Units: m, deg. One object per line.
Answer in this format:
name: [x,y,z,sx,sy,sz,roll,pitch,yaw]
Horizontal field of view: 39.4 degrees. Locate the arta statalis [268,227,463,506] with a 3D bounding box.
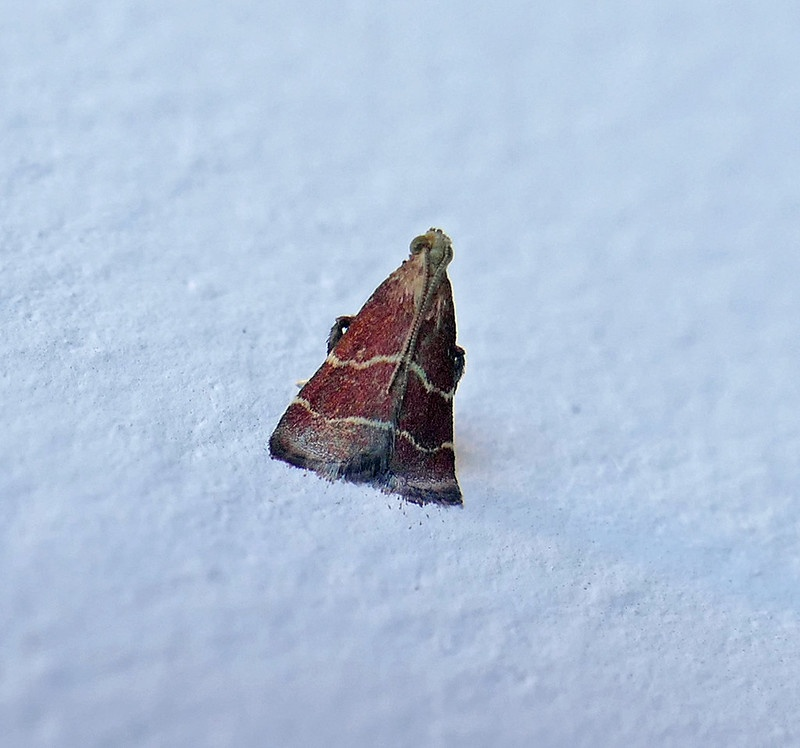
arta statalis: [-0.036,0.159,5.880,1.356,0.521,0.920,-44,79,-11]
